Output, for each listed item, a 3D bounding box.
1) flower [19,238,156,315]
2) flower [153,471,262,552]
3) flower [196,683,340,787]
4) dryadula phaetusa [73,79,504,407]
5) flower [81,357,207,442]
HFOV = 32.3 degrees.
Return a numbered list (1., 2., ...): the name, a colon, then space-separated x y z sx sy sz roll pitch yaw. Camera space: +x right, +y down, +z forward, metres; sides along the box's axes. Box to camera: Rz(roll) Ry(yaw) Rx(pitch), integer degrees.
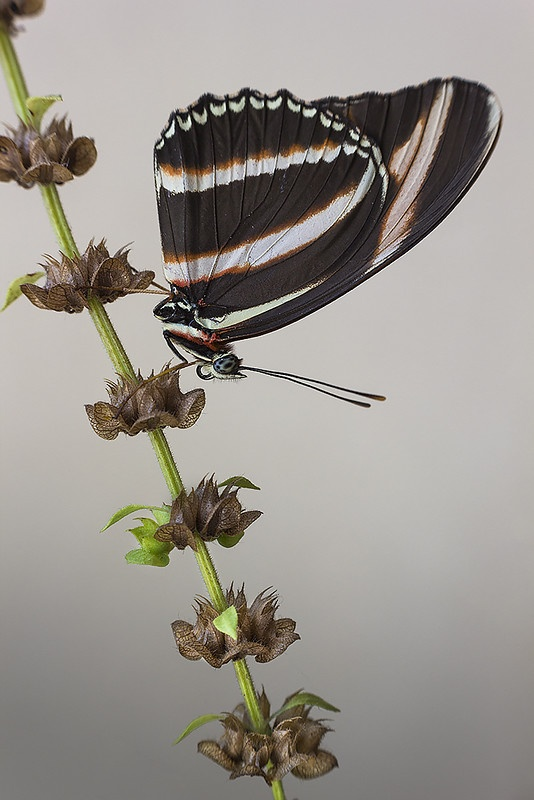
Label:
1. flower: -0.297 -0.187 1.488 0.209 0.092 0.109 -14 -48 7
2. flower: -0.098 0.182 1.533 0.174 0.130 0.113 1 -48 -6
3. flower: -0.012 0.574 1.583 0.251 0.198 0.120 5 -82 25
4. dryadula phaetusa: 0.088 -0.288 1.551 0.605 0.293 0.402 -9 -47 3
5. flower: -0.193 0.012 1.465 0.172 0.074 0.184 -7 2 -42
